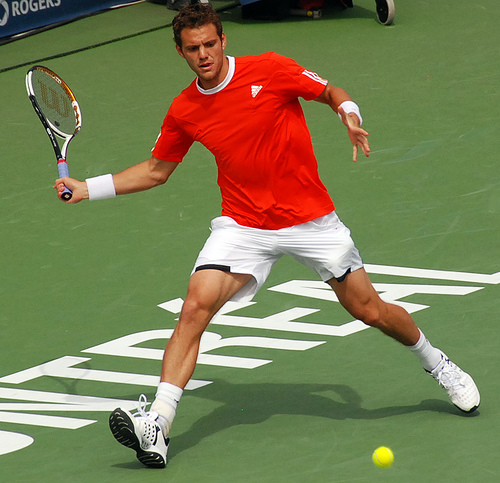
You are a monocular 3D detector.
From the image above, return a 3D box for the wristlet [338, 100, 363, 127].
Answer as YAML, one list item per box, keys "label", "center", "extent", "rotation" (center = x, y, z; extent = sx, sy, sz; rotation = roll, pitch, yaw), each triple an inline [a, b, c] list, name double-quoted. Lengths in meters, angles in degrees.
- label: "wristlet"
  center: [0.528, -0.688, 3.254]
  extent: [0.083, 0.117, 0.145]
  rotation: [-12, 18, 7]

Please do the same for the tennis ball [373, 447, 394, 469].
- label: "tennis ball"
  center: [0.627, 1.018, 2.960]
  extent: [0.136, 0.093, 0.112]
  rotation: [1, 3, -2]

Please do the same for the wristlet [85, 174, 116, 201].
- label: "wristlet"
  center: [-0.874, -0.322, 3.648]
  extent: [0.180, 0.145, 0.116]
  rotation: [-11, 20, 1]

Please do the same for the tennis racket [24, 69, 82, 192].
- label: "tennis racket"
  center: [-1.465, -0.918, 4.679]
  extent: [0.531, 1.192, 0.107]
  rotation: [10, -50, -37]
